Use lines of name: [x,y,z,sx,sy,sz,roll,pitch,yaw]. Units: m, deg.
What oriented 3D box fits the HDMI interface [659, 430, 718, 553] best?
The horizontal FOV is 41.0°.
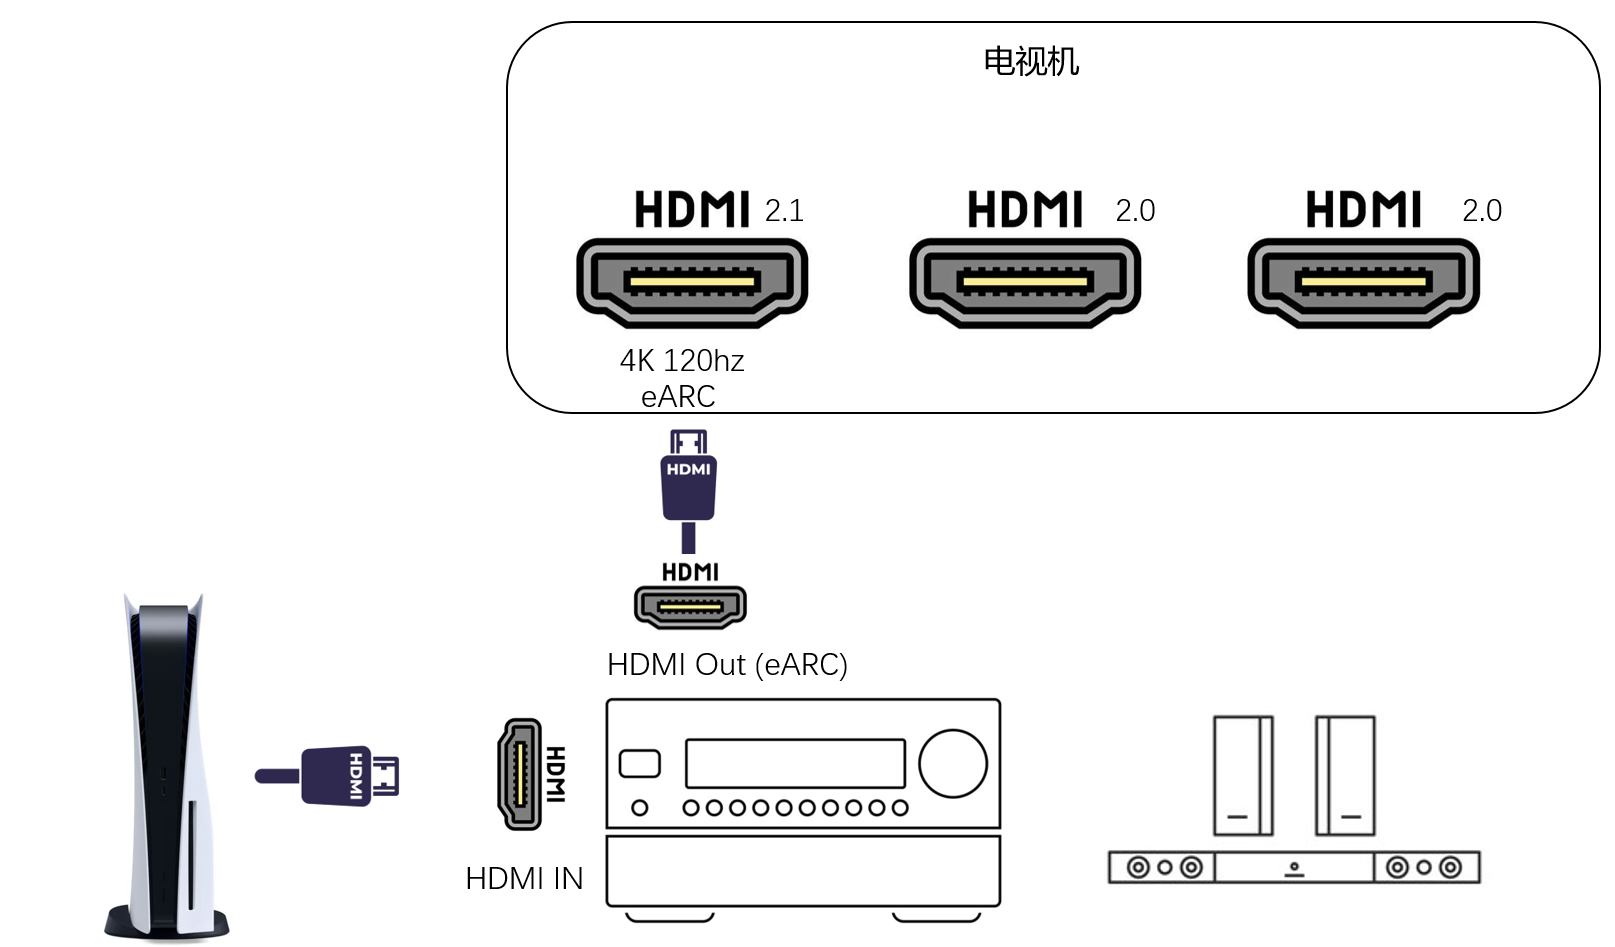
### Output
HDMI interface: [-0.340,0.064,6.177,0.162,0.384,0.027,0,19,-2]
